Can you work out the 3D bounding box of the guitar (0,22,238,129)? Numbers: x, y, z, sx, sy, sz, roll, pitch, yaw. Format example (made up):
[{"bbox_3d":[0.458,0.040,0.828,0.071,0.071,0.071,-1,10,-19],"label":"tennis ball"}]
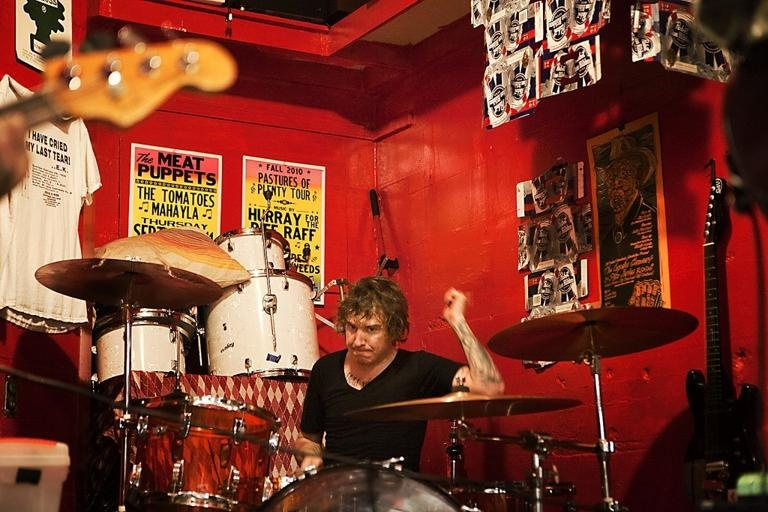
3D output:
[{"bbox_3d":[-0.590,-0.395,1.738,0.480,0.275,0.143,8,-18,-30],"label":"guitar"}]

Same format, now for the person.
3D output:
[{"bbox_3d":[0.041,0.662,3.880,1.038,1.044,0.530,2,-2,13],"label":"person"}]

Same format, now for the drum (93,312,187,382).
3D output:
[{"bbox_3d":[-1.458,0.547,4.667,0.604,0.431,0.529,5,-17,-21],"label":"drum"}]

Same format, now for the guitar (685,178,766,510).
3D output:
[{"bbox_3d":[1.604,0.386,3.776,0.370,1.603,0.554,-7,-17,20],"label":"guitar"}]

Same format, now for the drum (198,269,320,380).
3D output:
[{"bbox_3d":[-0.794,0.472,5.087,0.689,0.522,0.700,-1,-17,0],"label":"drum"}]

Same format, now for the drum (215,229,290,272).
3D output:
[{"bbox_3d":[-0.844,-0.033,5.132,0.336,0.206,0.335,1,-12,0],"label":"drum"}]
